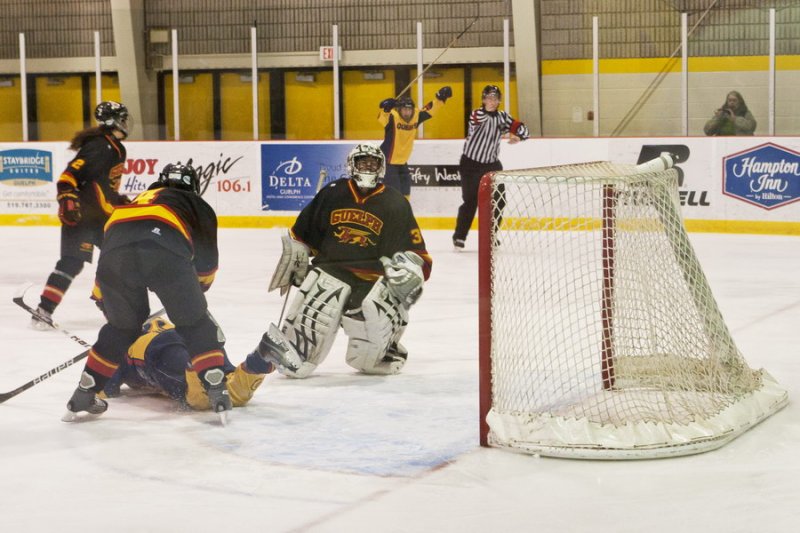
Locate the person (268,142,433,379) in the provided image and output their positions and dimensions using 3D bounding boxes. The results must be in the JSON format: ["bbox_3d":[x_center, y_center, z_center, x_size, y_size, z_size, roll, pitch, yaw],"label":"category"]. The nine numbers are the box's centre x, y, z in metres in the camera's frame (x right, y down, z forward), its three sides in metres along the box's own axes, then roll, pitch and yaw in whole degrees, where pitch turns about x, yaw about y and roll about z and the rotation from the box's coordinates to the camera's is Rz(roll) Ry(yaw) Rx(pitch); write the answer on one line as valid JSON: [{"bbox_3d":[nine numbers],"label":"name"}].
[{"bbox_3d":[-0.285,-0.029,6.911,1.144,1.426,0.800,3,16,4],"label":"person"}]

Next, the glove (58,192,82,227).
[{"bbox_3d":[-2.584,-0.447,8.182,0.101,0.213,0.174,4,8,44],"label":"glove"}]

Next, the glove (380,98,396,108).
[{"bbox_3d":[-0.131,-1.889,12.146,0.183,0.110,0.263,-1,14,-1],"label":"glove"}]

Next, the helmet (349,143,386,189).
[{"bbox_3d":[-0.223,-0.662,6.857,0.260,0.243,0.302,1,7,-7],"label":"helmet"}]

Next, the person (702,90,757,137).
[{"bbox_3d":[4.090,-1.791,12.956,0.541,0.722,0.597,-3,12,-38],"label":"person"}]

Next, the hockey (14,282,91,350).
[{"bbox_3d":[-2.700,0.404,8.113,0.766,0.127,0.178,26,0,28],"label":"hockey"}]

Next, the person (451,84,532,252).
[{"bbox_3d":[0.950,-1.095,11.802,0.722,1.840,1.057,8,18,31],"label":"person"}]

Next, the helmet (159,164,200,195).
[{"bbox_3d":[-1.313,-0.557,6.271,0.193,0.201,0.200,5,20,2],"label":"helmet"}]

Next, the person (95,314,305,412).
[{"bbox_3d":[-1.189,0.586,6.257,0.975,0.344,0.550,-1,-7,37],"label":"person"}]

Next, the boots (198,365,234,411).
[{"bbox_3d":[-1.051,0.705,5.939,0.173,0.261,0.099,-4,10,-7],"label":"boots"}]

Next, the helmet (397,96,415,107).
[{"bbox_3d":[0.059,-1.911,12.079,0.207,0.085,0.134,3,15,15],"label":"helmet"}]

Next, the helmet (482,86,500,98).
[{"bbox_3d":[1.063,-1.970,11.864,0.175,0.163,0.214,0,-2,-13],"label":"helmet"}]

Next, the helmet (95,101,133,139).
[{"bbox_3d":[-2.271,-1.173,8.255,0.322,0.276,0.243,-1,5,-13],"label":"helmet"}]

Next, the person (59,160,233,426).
[{"bbox_3d":[-1.427,0.142,6.285,1.040,1.691,0.904,-5,-22,13],"label":"person"}]
